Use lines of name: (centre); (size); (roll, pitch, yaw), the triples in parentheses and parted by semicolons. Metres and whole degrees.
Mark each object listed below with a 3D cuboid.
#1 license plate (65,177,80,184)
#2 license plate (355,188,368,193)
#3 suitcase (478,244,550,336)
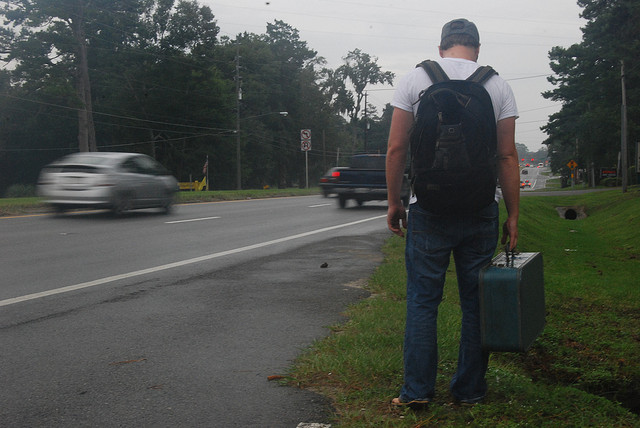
license plate: (-6.999, -0.956, 15.411); (0.450, 0.197, 0.025); (1, 7, 8)
license plate: (1.617, -0.907, 20.724); (0.276, 0.192, 0.056); (0, 2, 11)
suitcase: (1.599, 0.661, 4.502); (0.377, 0.819, 1.022); (-3, 4, 28)
